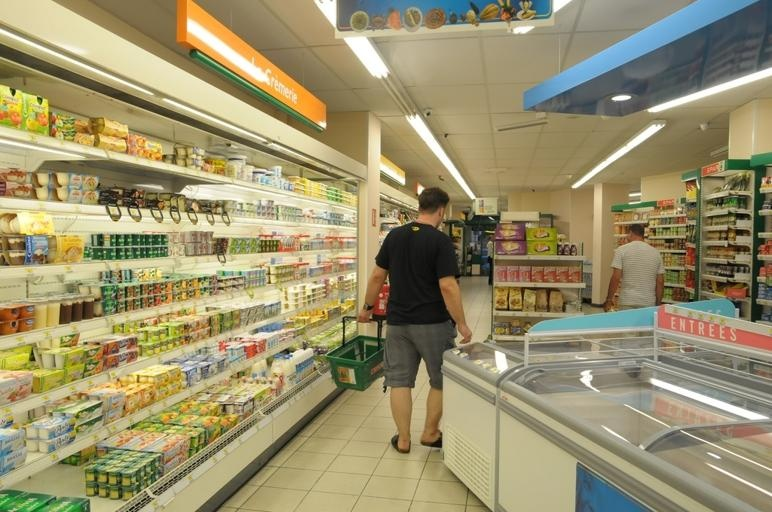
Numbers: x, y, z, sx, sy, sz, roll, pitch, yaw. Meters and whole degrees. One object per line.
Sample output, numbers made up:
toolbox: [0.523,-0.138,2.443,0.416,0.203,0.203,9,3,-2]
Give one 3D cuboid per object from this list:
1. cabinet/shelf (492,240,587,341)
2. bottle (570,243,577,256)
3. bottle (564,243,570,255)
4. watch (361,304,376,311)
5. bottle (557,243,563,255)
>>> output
cabinet/shelf: [1.796,0.389,5.758,1.445,1.448,0.493,0,9,1]
bottle: [2.358,-0.080,6.005,0.095,0.142,0.114,0,7,3]
bottle: [2.279,-0.080,6.033,0.076,0.126,0.075,0,7,0]
watch: [-0.168,0.524,4.935,0.110,0.068,0.102,-2,-1,44]
bottle: [2.217,-0.090,6.105,0.100,0.131,0.248,2,7,19]
